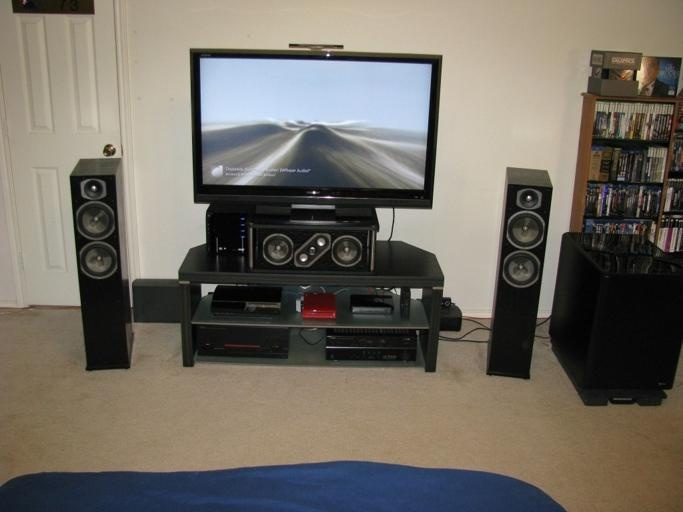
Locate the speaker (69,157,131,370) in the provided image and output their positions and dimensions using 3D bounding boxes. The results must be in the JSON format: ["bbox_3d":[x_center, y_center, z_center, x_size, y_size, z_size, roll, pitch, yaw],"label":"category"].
[{"bbox_3d":[-1.463,0.063,3.758,0.297,1.295,0.256,-3,13,-21],"label":"speaker"}]
